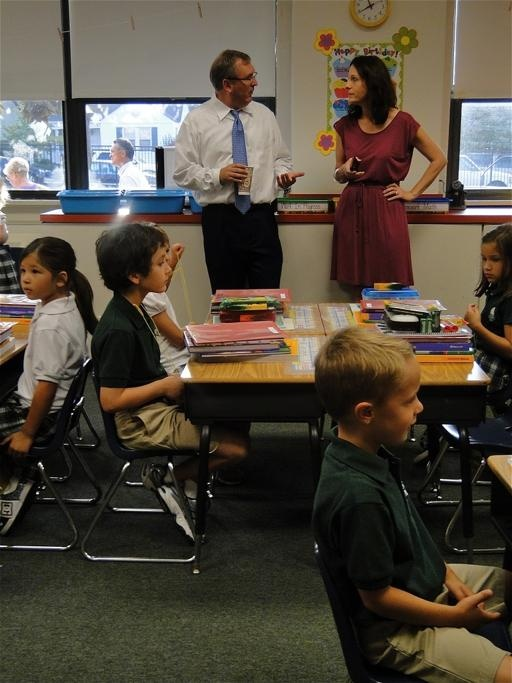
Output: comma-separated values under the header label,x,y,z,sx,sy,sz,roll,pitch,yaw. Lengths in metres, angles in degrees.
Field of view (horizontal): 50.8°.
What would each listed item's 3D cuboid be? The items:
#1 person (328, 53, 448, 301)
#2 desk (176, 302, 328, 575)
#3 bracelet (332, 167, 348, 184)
label,x,y,z,sx,sy,sz,roll,pitch,yaw
person,0.779,-0.858,3.489,0.718,1.752,0.649,6,24,24
desk,-0.025,0.349,1.863,0.342,0.428,0.923,-1,13,0
bracelet,0.544,-1.076,3.480,0.065,0.048,0.149,-9,2,5
